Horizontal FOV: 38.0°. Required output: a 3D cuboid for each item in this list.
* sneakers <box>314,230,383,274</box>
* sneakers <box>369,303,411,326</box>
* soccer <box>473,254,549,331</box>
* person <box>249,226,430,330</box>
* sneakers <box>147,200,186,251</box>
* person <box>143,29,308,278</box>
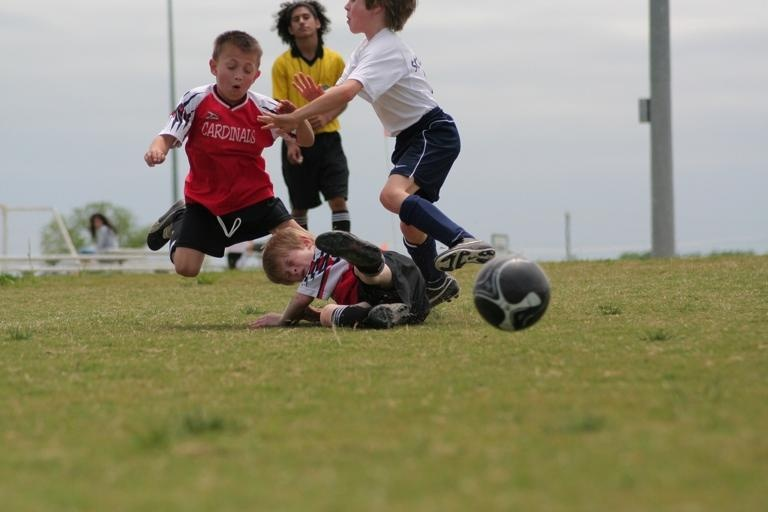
[{"bbox_3d":[-0.156,-0.035,5.652,0.328,0.162,0.159,27,34,-11],"label":"sneakers"},{"bbox_3d":[0.027,0.300,5.750,0.131,0.123,0.236,7,17,31],"label":"sneakers"},{"bbox_3d":[0.602,0.193,5.305,0.354,0.378,0.160,-1,14,5],"label":"soccer"},{"bbox_3d":[-0.105,0.113,6.068,0.925,0.558,1.490,1,-2,-27],"label":"person"},{"bbox_3d":[-1.237,-0.166,6.458,0.323,0.105,0.144,-43,3,46],"label":"sneakers"},{"bbox_3d":[-0.884,-0.482,6.321,0.994,1.514,0.955,-1,-1,-22],"label":"person"}]
